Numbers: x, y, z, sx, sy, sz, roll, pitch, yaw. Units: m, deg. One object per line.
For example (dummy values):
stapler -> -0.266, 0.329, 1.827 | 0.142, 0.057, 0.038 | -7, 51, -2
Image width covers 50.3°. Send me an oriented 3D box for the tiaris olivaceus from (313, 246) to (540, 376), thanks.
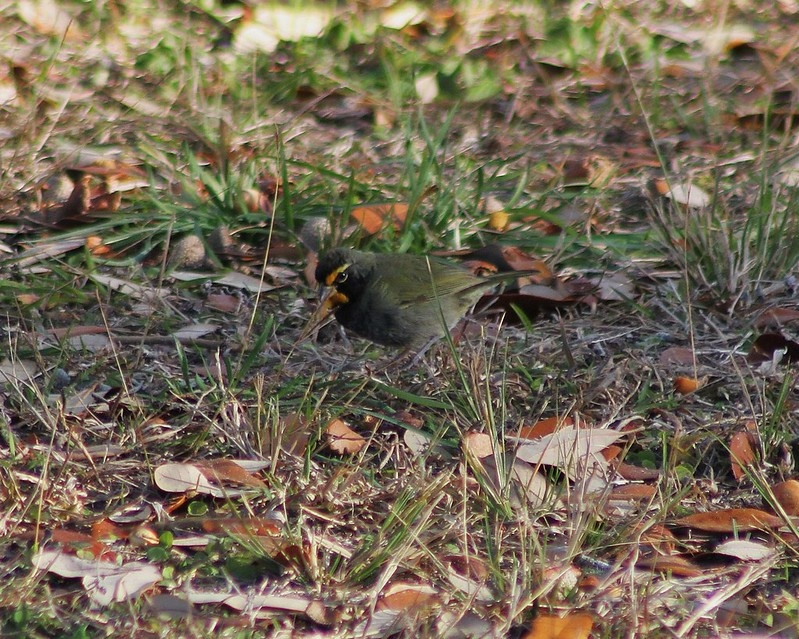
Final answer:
tiaris olivaceus -> 0.111, -0.133, 4.218 | 1.420, 0.414, 0.332 | -7, 25, -23
